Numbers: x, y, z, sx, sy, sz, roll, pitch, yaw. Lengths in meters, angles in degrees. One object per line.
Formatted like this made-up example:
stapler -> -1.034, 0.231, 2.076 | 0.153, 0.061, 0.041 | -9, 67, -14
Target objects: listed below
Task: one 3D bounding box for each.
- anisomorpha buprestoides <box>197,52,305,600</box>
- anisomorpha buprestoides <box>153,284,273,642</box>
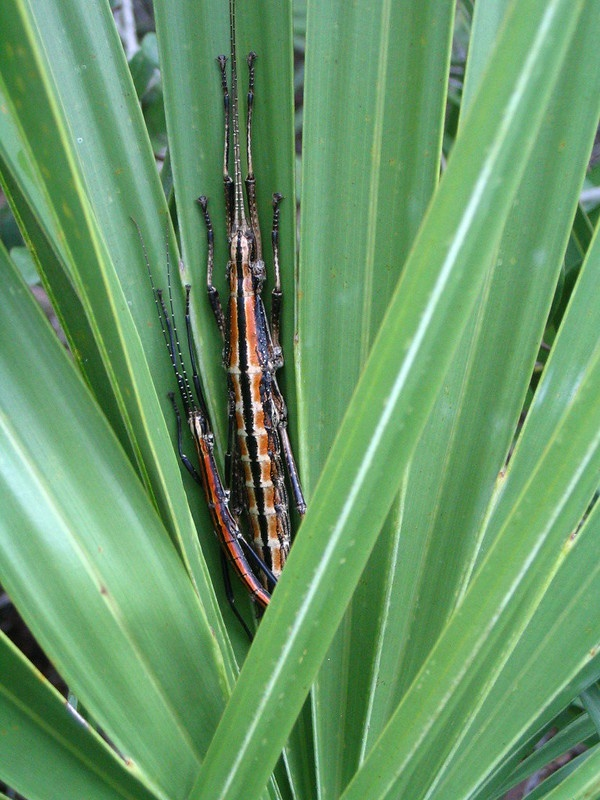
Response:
anisomorpha buprestoides -> -0.056, -0.039, 1.104 | 0.120, 0.661, 0.071 | -16, 23, -39
anisomorpha buprestoides -> -0.114, 0.091, 0.973 | 0.099, 0.505, 0.054 | 7, 30, 32
